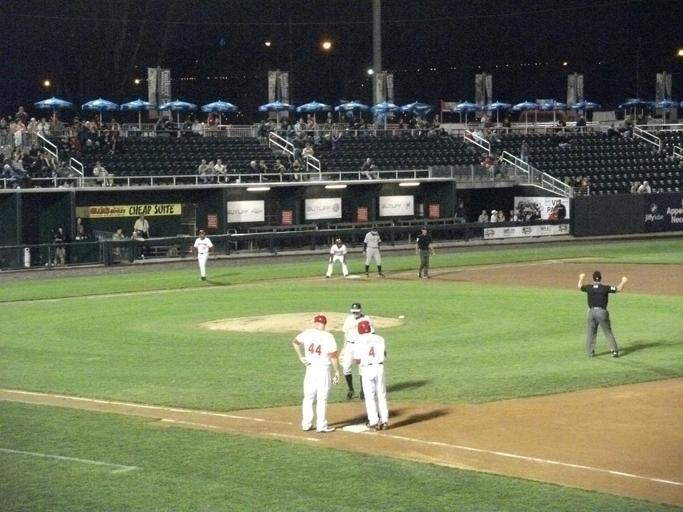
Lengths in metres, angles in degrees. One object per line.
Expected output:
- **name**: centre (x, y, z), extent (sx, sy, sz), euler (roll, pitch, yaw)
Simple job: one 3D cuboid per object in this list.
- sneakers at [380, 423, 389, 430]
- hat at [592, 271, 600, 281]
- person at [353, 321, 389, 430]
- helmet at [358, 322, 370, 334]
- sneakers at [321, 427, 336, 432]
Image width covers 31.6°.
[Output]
- **sneakers**: centre (1.255, 5.053, 35.585), extent (0.187, 0.193, 0.480), euler (-1, -7, 0)
- **hat**: centre (8.529, 0.677, 40.345), extent (0.303, 0.366, 0.388), euler (3, -5, 12)
- **person**: centre (0.874, 3.542, 35.438), extent (0.879, 3.258, 0.751), euler (-5, 14, -17)
- **helmet**: centre (0.650, 2.119, 35.319), extent (0.292, 0.334, 0.367), euler (-3, -3, -27)
- **sneakers**: centre (-0.398, 5.135, 35.537), extent (0.467, 0.181, 0.147), euler (-2, 8, -5)
